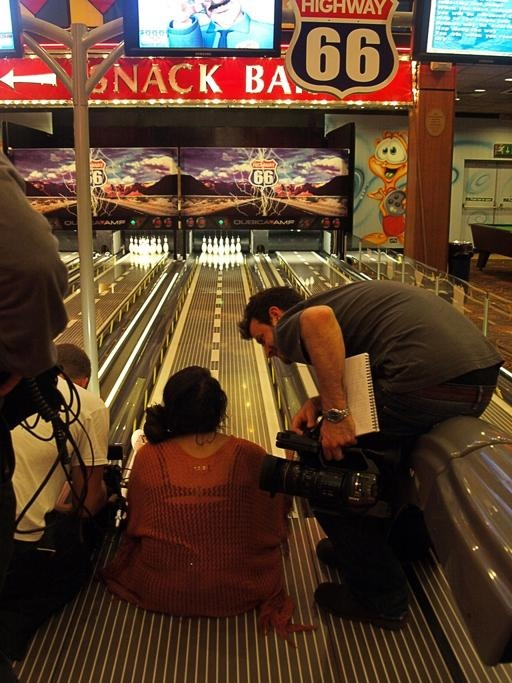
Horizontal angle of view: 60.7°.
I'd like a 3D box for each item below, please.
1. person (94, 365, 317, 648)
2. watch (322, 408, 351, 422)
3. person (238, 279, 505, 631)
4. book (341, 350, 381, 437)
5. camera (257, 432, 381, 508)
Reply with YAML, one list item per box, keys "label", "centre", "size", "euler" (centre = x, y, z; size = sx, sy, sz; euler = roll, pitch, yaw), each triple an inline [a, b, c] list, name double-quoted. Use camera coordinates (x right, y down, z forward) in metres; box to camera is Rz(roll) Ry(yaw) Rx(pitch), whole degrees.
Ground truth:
- label: "person"
  centre: [-0.195, 0.552, 1.645]
  size: [0.812, 0.810, 0.477]
  euler: [0, 7, 0]
- label: "watch"
  centre: [0.260, 0.241, 1.463]
  size: [0.053, 0.030, 0.053]
  euler: [2, 4, 34]
- label: "person"
  centre: [0.506, 0.283, 2.046]
  size: [1.223, 1.399, 0.852]
  euler: [1, 3, 30]
- label: "book"
  centre: [0.338, 0.169, 1.439]
  size: [0.107, 0.263, 0.124]
  euler: [1, 6, 11]
- label: "camera"
  centre: [0.218, 0.428, 1.483]
  size: [0.362, 0.237, 0.265]
  euler: [2, 6, 15]
